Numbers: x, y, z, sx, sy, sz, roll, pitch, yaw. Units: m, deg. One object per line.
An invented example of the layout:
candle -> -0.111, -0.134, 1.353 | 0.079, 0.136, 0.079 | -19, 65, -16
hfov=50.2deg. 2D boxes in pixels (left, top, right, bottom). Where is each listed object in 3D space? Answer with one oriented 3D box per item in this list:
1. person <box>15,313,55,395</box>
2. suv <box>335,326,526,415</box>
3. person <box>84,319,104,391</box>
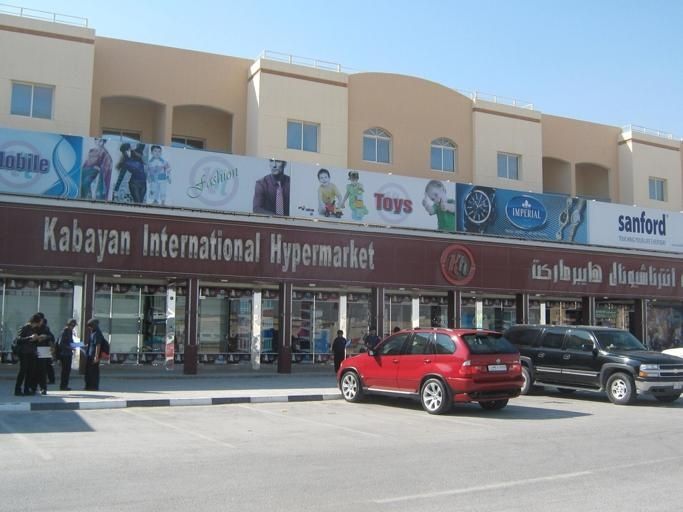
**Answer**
person -> -8.097, 2.692, 19.107 | 0.859, 2.154, 1.086 | 1, 14, -25
suv -> 2.239, 2.630, 18.538 | 1.966, 1.728, 3.926 | 7, -6, -42
person -> -6.849, 2.800, 20.168 | 0.450, 2.035, 0.618 | 2, 13, -20
